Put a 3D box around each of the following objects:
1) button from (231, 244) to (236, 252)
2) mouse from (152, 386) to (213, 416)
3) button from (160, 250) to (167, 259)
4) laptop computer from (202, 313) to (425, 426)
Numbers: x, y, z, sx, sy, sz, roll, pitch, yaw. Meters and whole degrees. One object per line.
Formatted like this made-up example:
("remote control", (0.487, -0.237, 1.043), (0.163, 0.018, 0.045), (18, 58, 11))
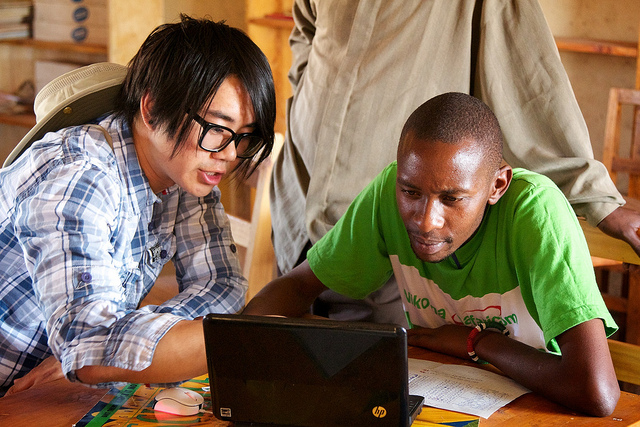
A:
("button", (-0.254, 0.099, 1.608), (0.006, 0.017, 0.017), (-24, -17, 41))
("mouse", (-0.315, 0.403, 1.215), (0.098, 0.034, 0.061), (2, 0, 12))
("button", (-0.447, 0.115, 1.565), (0.005, 0.025, 0.025), (4, 2, 27))
("laptop computer", (-0.019, 0.326, 1.114), (0.360, 0.253, 0.254), (2, 21, 13))
